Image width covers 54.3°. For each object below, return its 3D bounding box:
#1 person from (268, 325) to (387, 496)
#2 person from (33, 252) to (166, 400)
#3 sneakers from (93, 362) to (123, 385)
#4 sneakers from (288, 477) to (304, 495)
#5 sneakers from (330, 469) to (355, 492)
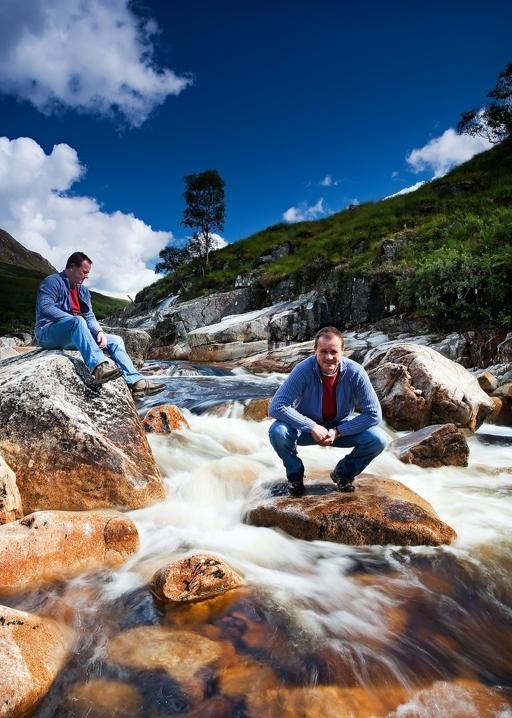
[{"bbox_3d":[0.592,0.465,4.159,0.934,1.418,0.476,1,6,1],"label":"person"},{"bbox_3d":[-1.742,-0.336,5.391,1.343,1.579,0.939,7,8,44],"label":"person"},{"bbox_3d":[-1.449,0.170,4.916,0.171,0.079,0.164,-25,22,5],"label":"sneakers"},{"bbox_3d":[0.350,1.119,4.270,0.121,0.117,0.114,1,-11,-10],"label":"sneakers"},{"bbox_3d":[0.751,1.075,4.315,0.092,0.118,0.268,0,-3,-17],"label":"sneakers"}]
